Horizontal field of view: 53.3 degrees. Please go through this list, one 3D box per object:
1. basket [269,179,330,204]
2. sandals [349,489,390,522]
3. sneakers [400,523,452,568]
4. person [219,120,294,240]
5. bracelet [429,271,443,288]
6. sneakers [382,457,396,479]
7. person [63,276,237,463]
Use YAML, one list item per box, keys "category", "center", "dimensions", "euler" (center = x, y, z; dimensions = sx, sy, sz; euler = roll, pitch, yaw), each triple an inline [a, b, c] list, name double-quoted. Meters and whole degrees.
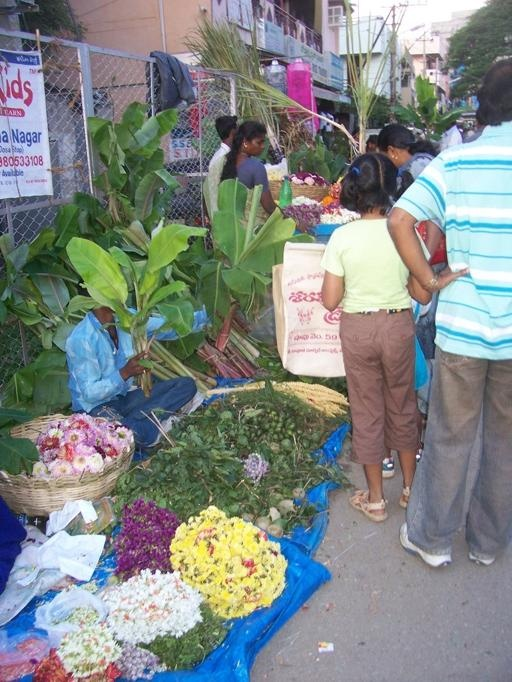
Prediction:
- category: "basket"
  center: [0.362, -1.266, 4.342]
  dimensions: [0.293, 0.108, 0.258]
  euler: [-2, 10, -13]
- category: "sandals"
  center: [0.535, 0.774, 2.429]
  dimensions: [0.090, 0.059, 0.154]
  euler: [-4, 16, -19]
- category: "sneakers"
  center: [0.663, 0.842, 2.111]
  dimensions: [0.091, 0.108, 0.236]
  euler: [-24, 43, -24]
- category: "person"
  center: [-0.076, -1.392, 4.219]
  dimensions: [0.428, 0.793, 0.769]
  euler: [-4, 21, -3]
- category: "bracelet"
  center: [0.606, -0.203, 1.726]
  dimensions: [0.012, 0.038, 0.037]
  euler: [9, 2, -35]
- category: "sneakers"
  center: [0.710, 0.678, 2.782]
  dimensions: [0.078, 0.097, 0.147]
  euler: [2, 19, 7]
- category: "person"
  center: [-0.654, 0.079, 2.663]
  dimensions: [0.811, 0.912, 0.618]
  euler: [-14, 31, -3]
